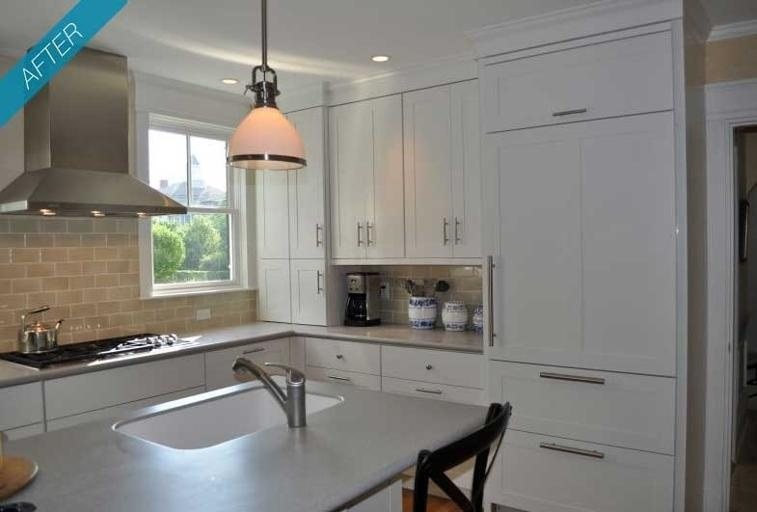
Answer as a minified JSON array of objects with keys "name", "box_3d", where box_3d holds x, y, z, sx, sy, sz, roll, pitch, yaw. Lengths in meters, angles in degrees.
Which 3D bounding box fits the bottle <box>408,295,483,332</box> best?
[{"name":"bottle","box_3d":[0.523,0.466,4.455,0.576,0.222,0.233,-1,-2,40]}]

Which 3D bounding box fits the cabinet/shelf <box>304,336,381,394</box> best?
[{"name":"cabinet/shelf","box_3d":[-0.278,0.831,4.339,0.572,0.267,0.346,1,2,28]}]

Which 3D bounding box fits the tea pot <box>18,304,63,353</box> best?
[{"name":"tea pot","box_3d":[-2.267,0.503,3.722,0.205,0.295,0.343,0,-2,12]}]

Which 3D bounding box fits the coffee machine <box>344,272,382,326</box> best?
[{"name":"coffee machine","box_3d":[-0.134,0.363,4.715,0.304,0.443,0.227,-1,7,-10]}]

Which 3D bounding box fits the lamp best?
[{"name":"lamp","box_3d":[-0.616,-0.974,3.058,0.369,1.008,1.007,-1,7,-11]}]
